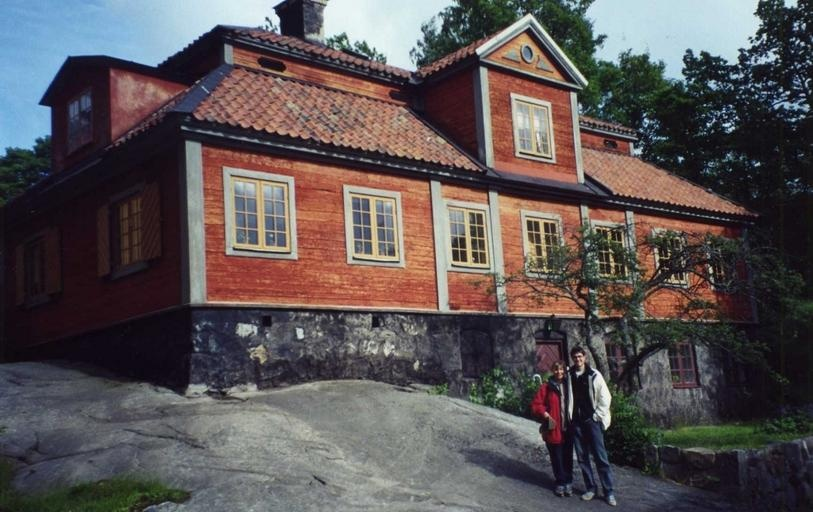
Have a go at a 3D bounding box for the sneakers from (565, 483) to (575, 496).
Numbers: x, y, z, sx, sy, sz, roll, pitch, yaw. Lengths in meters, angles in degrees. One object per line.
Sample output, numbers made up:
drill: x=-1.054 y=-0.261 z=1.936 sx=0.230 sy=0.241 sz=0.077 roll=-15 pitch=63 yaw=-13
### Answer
sneakers: x=3.556 y=5.111 z=13.292 sx=0.125 sy=0.163 sz=0.354 roll=0 pitch=-4 yaw=5

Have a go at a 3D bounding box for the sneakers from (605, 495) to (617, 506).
sneakers: x=4.349 y=5.182 z=12.882 sx=0.132 sy=0.124 sz=0.281 roll=0 pitch=-2 yaw=10

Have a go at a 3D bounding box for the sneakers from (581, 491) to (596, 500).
sneakers: x=3.898 y=5.148 z=13.052 sx=0.143 sy=0.137 sz=0.314 roll=-9 pitch=-20 yaw=39

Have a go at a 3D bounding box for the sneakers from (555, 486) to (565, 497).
sneakers: x=3.326 y=5.100 z=13.134 sx=0.101 sy=0.119 sz=0.291 roll=0 pitch=-2 yaw=10
